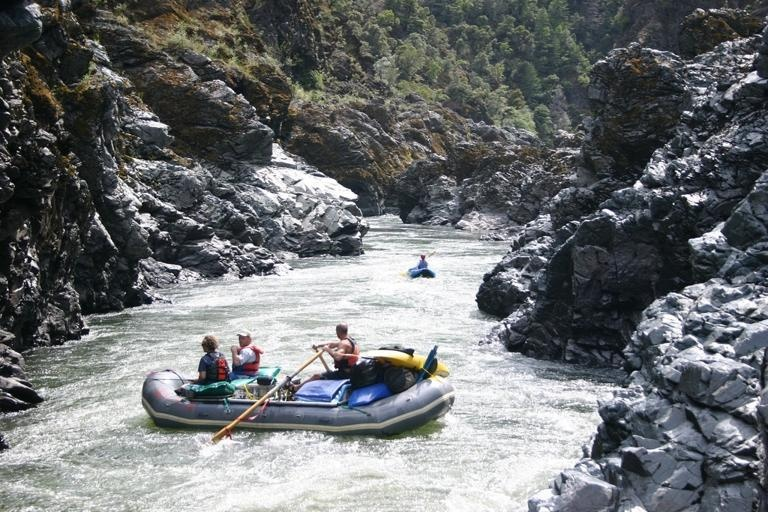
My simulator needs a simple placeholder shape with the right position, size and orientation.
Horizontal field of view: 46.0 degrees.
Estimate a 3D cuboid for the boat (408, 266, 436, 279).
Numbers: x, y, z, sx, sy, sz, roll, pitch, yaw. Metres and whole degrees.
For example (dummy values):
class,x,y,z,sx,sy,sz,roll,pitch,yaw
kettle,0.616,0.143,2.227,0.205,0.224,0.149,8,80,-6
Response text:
class,x,y,z,sx,sy,sz,roll,pitch,yaw
boat,1.673,0.751,40.379,1.228,0.461,0.542,3,4,12
